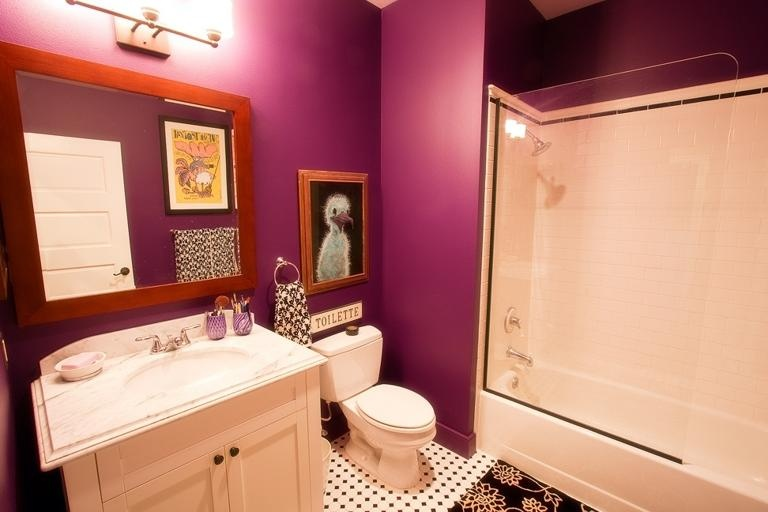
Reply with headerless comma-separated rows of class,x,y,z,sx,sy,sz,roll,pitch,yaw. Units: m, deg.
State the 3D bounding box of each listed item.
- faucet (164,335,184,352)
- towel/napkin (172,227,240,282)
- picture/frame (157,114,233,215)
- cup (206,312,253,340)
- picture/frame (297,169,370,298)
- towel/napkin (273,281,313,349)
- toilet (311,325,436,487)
faucet,-1.165,0.489,2.785,0.062,0.072,0.098,3,3,8
towel/napkin,-1.070,-0.012,2.952,0.310,0.275,0.032,-7,11,-41
picture/frame,-1.109,-0.540,2.882,0.562,0.704,0.035,-6,10,-42
cup,-0.901,0.396,2.918,0.248,0.140,0.136,-2,4,-23
picture/frame,-0.376,-0.176,3.498,0.074,1.099,0.811,11,15,44
towel/napkin,-0.607,0.382,3.245,0.212,0.413,0.176,-2,9,8
toilet,0.074,0.922,3.715,1.055,1.114,0.685,11,18,38
